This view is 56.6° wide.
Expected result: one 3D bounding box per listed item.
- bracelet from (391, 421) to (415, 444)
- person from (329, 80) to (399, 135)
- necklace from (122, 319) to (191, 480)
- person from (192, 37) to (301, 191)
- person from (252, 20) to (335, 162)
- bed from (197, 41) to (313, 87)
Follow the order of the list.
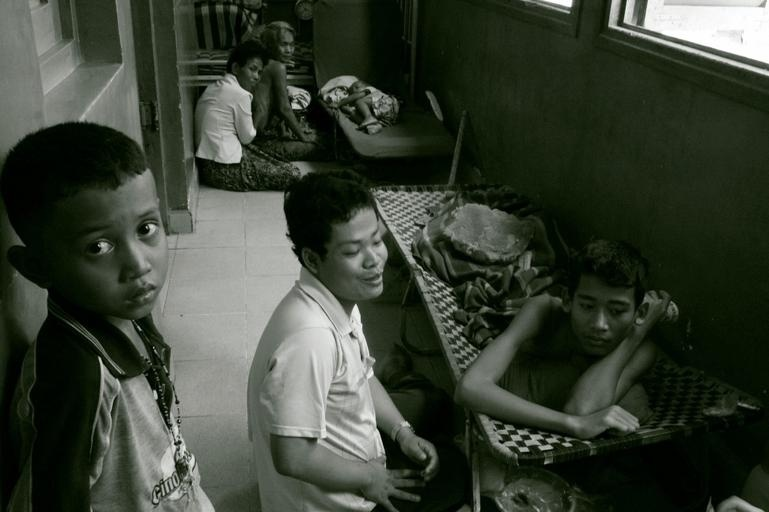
[{"bbox_3d":[0.072,0.711,2.924,0.068,0.035,0.088,8,34,40],"label":"bracelet"},{"bbox_3d":[-0.209,-1.426,6.700,0.482,0.264,0.705,2,37,-47],"label":"person"},{"bbox_3d":[-0.726,0.487,2.356,0.152,0.050,0.563,-17,82,-42],"label":"necklace"},{"bbox_3d":[-1.261,-1.277,6.662,1.060,1.300,0.997,5,9,-15],"label":"person"},{"bbox_3d":[-0.772,-1.600,6.882,1.060,1.223,0.914,10,23,2],"label":"person"},{"bbox_3d":[-1.429,-2.128,7.806,1.437,0.340,1.007,1,23,-5],"label":"bed"}]
